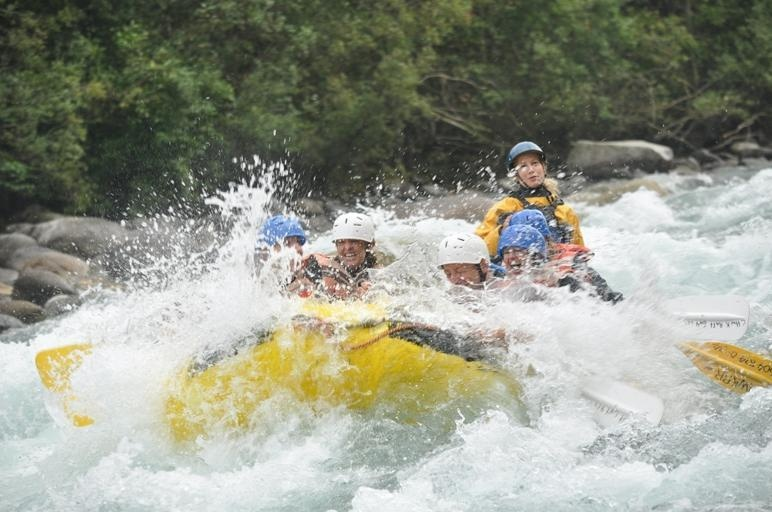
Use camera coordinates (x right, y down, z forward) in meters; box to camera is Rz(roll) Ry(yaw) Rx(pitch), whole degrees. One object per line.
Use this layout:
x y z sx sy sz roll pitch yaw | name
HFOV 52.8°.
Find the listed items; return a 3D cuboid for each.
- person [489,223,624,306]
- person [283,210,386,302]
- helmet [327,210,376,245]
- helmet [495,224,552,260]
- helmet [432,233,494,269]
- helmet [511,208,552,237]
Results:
1.698 0.087 7.333 0.646 0.510 1.377 1 12 -36 | person
-0.497 0.020 7.490 0.750 0.518 0.847 6 52 8 | person
-0.297 -0.256 7.630 0.292 0.351 0.258 -2 68 9 | helmet
1.365 -0.189 7.514 0.588 0.426 0.275 -4 85 45 | helmet
0.690 -0.022 7.209 0.302 0.410 0.301 -19 63 36 | helmet
1.418 -0.354 7.624 0.377 0.186 0.255 13 12 -2 | helmet
